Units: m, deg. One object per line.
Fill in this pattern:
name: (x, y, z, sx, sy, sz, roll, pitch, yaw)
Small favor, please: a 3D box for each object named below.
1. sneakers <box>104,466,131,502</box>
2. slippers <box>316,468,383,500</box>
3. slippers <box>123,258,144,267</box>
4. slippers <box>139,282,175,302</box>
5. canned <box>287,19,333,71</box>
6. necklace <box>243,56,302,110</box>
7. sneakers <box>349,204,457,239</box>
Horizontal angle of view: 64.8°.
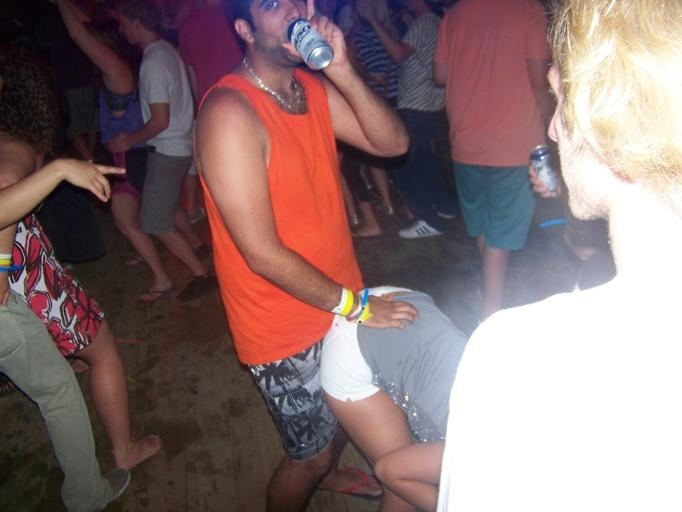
sneakers: (-1.121, 1.142, 2.723, 0.060, 0.077, 0.192, -1, 26, 3)
slippers: (0.065, 1.063, 2.606, 0.366, 0.142, 0.136, 1, 40, 6)
slippers: (-1.798, 0.045, 4.652, 0.083, 0.044, 0.177, 42, 36, 20)
slippers: (-1.411, 0.298, 4.116, 0.237, 0.067, 0.118, -27, 52, 2)
canned: (-0.101, -0.735, 1.893, 0.142, 0.202, 0.134, -27, 36, -24)
necklace: (-0.243, -0.642, 1.992, 0.204, 0.193, 0.235, -14, 34, -5)
sneakers: (0.649, -0.285, 4.395, 0.547, 0.239, 0.199, 0, 18, 2)
